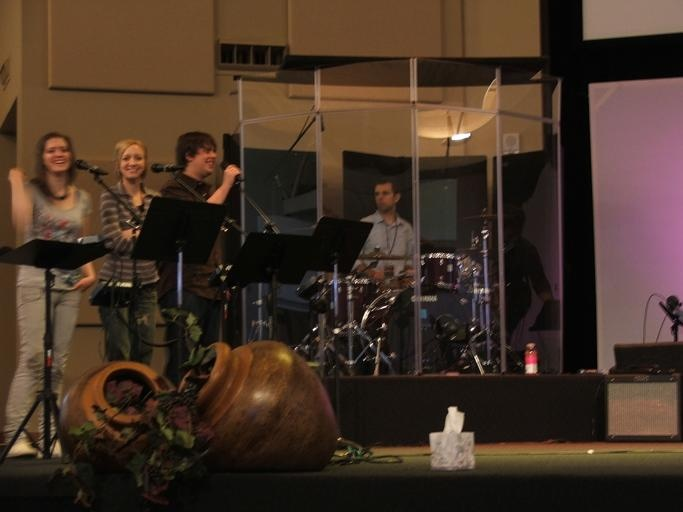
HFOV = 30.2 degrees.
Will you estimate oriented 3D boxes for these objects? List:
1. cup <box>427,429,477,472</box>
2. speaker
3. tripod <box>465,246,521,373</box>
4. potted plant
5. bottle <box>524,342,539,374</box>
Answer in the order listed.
[{"bbox_3d":[0.614,1.077,7.039,0.213,0.173,0.216,0,-7,0],"label":"cup"},{"bbox_3d":[1.985,0.987,8.439,0.608,0.532,0.407,-1,-6,14],"label":"speaker"},{"bbox_3d":[1.031,0.276,9.121,0.263,0.791,0.228,-1,11,38],"label":"tripod"},{"bbox_3d":[-0.814,0.828,6.812,1.378,0.592,0.799,-4,17,-9],"label":"potted plant"},{"bbox_3d":[1.351,0.733,9.008,0.099,0.211,0.394,1,0,8],"label":"bottle"}]
